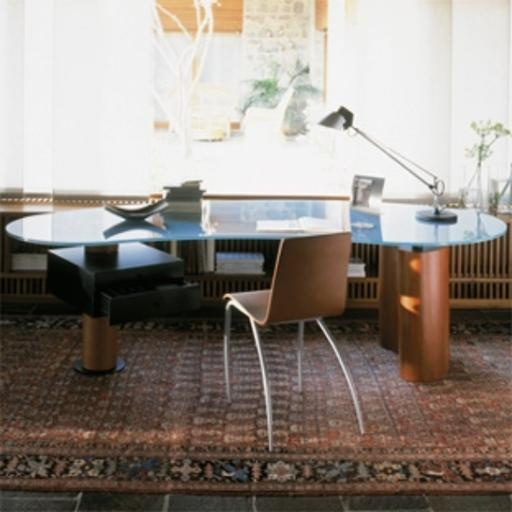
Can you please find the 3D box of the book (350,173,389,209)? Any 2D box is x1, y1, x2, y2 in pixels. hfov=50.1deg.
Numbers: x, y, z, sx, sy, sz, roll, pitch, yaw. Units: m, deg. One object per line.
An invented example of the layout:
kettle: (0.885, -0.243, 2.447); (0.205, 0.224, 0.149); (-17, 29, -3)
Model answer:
book: (0.573, -0.303, 2.699); (0.188, 0.195, 0.146); (3, 1, 16)

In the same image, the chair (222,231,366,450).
chair: (0.146, 0.245, 2.083); (0.530, 0.735, 0.572); (0, 10, -6)
